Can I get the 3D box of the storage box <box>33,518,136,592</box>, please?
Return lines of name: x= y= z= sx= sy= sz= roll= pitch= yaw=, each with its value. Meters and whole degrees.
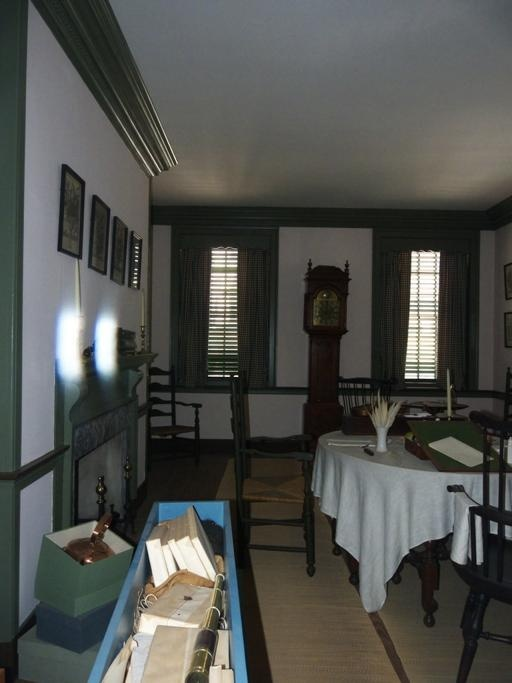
storage box: x=-0.590 y=0.736 z=1.645 sx=0.234 sy=0.215 sz=0.240 roll=5 pitch=6 yaw=44

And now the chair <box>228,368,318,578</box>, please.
chair: x=0.135 y=0.955 z=3.649 sx=0.586 sy=1.703 sz=0.912 roll=-1 pitch=4 yaw=-1

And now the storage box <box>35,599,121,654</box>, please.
storage box: x=-0.596 y=0.935 z=1.544 sx=0.147 sy=0.118 sz=0.166 roll=0 pitch=-4 yaw=18

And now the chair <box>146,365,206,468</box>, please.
chair: x=-0.837 y=0.770 z=5.228 sx=0.593 sy=1.168 sz=0.654 roll=-1 pitch=-7 yaw=7
